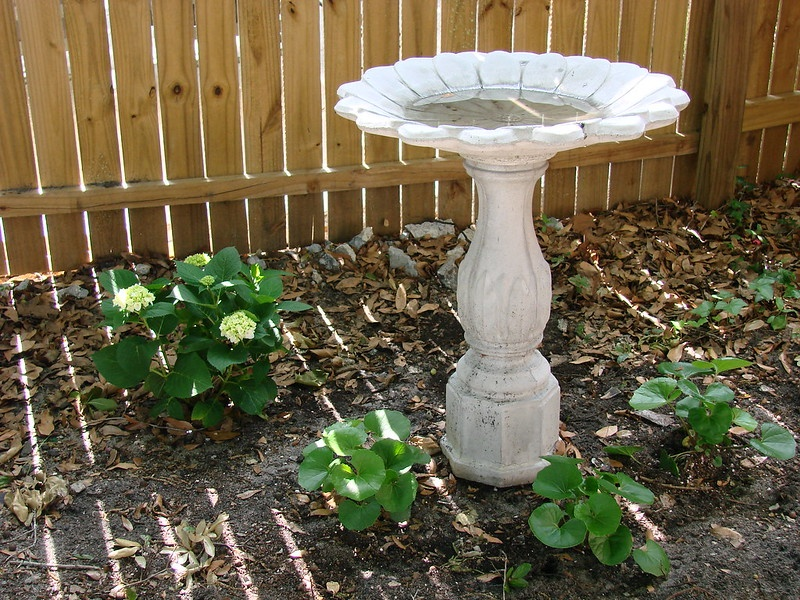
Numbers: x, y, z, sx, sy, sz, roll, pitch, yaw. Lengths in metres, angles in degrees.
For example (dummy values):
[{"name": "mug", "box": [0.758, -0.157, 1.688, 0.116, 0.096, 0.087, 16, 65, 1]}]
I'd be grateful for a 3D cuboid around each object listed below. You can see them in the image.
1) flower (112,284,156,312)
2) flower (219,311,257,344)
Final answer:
[{"name": "flower", "box": [-1.107, -0.005, 2.583, 0.154, 0.067, 0.129, -5, 26, 5]}, {"name": "flower", "box": [-0.680, 0.126, 2.653, 0.173, 0.091, 0.142, -6, 34, -10]}]
